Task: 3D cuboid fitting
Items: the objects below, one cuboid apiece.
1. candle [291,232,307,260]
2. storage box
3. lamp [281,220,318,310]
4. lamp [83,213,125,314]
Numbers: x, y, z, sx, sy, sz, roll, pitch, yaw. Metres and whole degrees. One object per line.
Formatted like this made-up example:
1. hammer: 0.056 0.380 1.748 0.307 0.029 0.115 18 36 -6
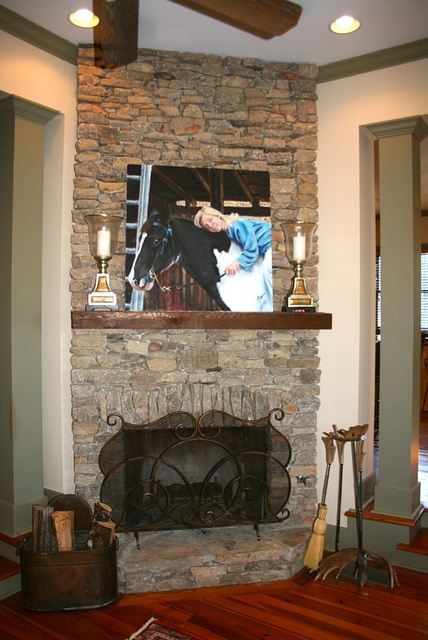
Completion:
1. candle: 0.469 -0.397 3.091 0.077 0.153 0.028 5 14 7
2. storage box: -0.661 1.057 2.536 0.525 0.324 0.277 0 -7 -9
3. lamp: 0.470 -0.300 3.142 0.220 0.510 0.183 -1 14 -18
4. lamp: -0.592 -0.304 2.946 0.180 0.491 0.191 1 14 -11
